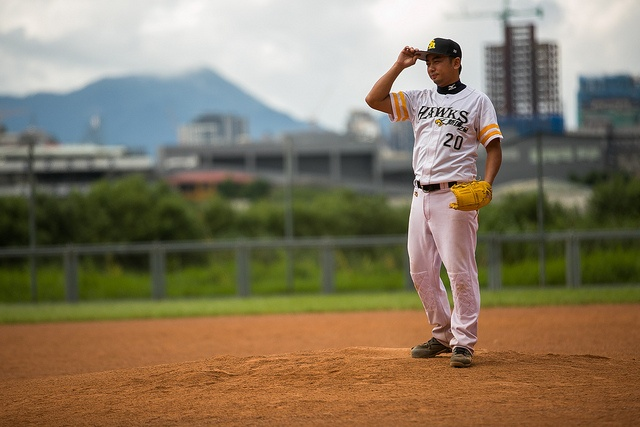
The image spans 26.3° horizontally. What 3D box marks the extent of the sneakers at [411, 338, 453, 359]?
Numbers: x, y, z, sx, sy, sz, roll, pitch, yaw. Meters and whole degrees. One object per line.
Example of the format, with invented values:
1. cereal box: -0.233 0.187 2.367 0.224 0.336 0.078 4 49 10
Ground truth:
1. sneakers: 1.371 1.669 17.133 0.525 0.292 0.209 2 -2 -5
